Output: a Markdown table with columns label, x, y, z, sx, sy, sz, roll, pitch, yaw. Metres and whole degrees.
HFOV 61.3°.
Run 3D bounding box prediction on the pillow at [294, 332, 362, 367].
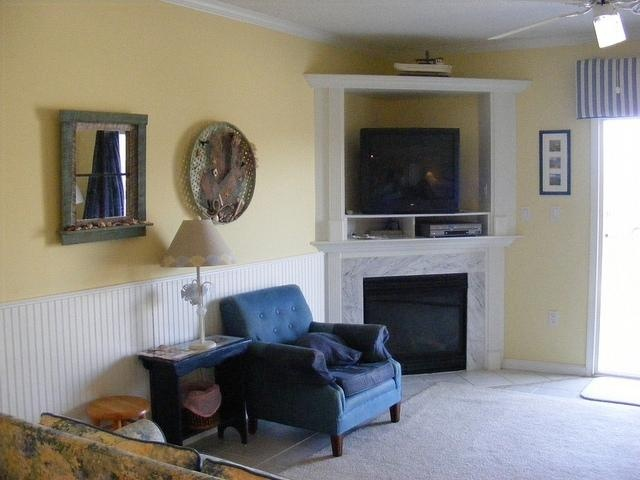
| label | x | y | z | sx | sy | sz | roll | pitch | yaw |
| --- | --- | --- | --- | --- | --- | --- | --- | --- | --- |
| pillow | 0.095 | 0.815 | 4.025 | 0.302 | 0.096 | 0.276 | 13 | 12 | -25 |

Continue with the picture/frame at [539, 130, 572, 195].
| label | x | y | z | sx | sy | sz | roll | pitch | yaw |
| --- | --- | --- | --- | --- | --- | --- | --- | --- | --- |
| picture/frame | 2.218 | -0.708 | 5.092 | 0.281 | 0.588 | 0.035 | 0 | 0 | -10 |

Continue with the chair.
| label | x | y | z | sx | sy | sz | roll | pitch | yaw |
| --- | --- | --- | --- | --- | --- | --- | --- | --- | --- |
| chair | -0.066 | 0.878 | 4.132 | 1.128 | 1.045 | 1.137 | 1 | 3 | 34 |

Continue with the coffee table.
| label | x | y | z | sx | sy | sz | roll | pitch | yaw |
| --- | --- | --- | --- | --- | --- | --- | --- | --- | --- |
| coffee table | -0.846 | 1.103 | 3.771 | 0.388 | 0.704 | 0.744 | -3 | 0 | 34 |

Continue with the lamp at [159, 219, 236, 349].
| label | x | y | z | sx | sy | sz | roll | pitch | yaw |
| --- | --- | --- | --- | --- | --- | --- | --- | --- | --- |
| lamp | -0.869 | 0.300 | 3.749 | 0.444 | 0.874 | 0.410 | -6 | 7 | -36 |
